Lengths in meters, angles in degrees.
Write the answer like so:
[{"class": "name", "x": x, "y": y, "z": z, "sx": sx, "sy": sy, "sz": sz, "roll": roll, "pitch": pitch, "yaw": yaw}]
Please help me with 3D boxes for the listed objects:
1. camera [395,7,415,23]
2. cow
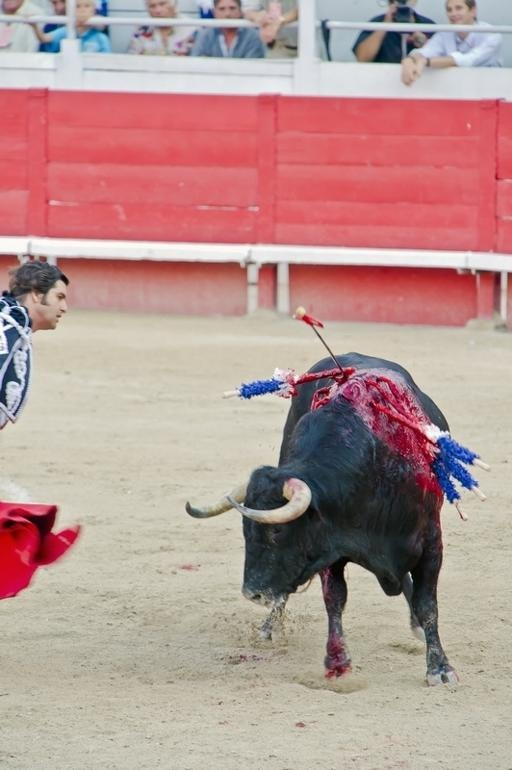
[{"class": "camera", "x": 0.797, "y": -1.950, "z": 6.726, "sx": 0.081, "sy": 0.091, "sz": 0.142, "roll": 0, "pitch": 6, "yaw": 3}, {"class": "cow", "x": 0.178, "y": 0.325, "z": 2.704, "sx": 0.348, "sy": 0.576, "sz": 1.086, "roll": 0, "pitch": 0, "yaw": 23}]
